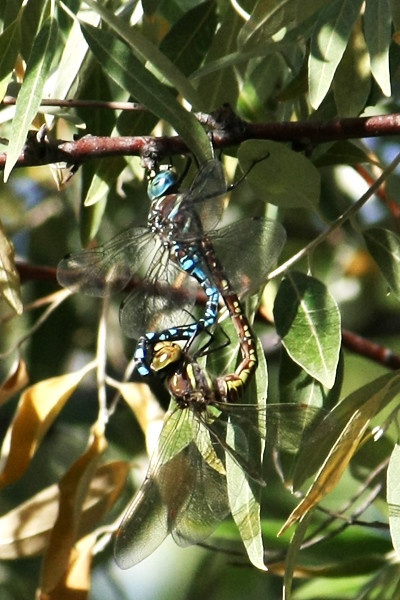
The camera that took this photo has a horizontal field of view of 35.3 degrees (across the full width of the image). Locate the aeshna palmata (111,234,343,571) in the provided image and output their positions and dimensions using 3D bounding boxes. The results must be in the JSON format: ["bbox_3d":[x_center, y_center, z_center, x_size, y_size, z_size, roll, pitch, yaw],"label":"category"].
[{"bbox_3d":[0.150,0.130,0.992,0.543,0.375,0.267,-1,7,44],"label":"aeshna palmata"}]

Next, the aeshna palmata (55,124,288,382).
[{"bbox_3d":[-0.017,-0.067,0.933,0.346,0.332,0.177,7,12,31],"label":"aeshna palmata"}]
